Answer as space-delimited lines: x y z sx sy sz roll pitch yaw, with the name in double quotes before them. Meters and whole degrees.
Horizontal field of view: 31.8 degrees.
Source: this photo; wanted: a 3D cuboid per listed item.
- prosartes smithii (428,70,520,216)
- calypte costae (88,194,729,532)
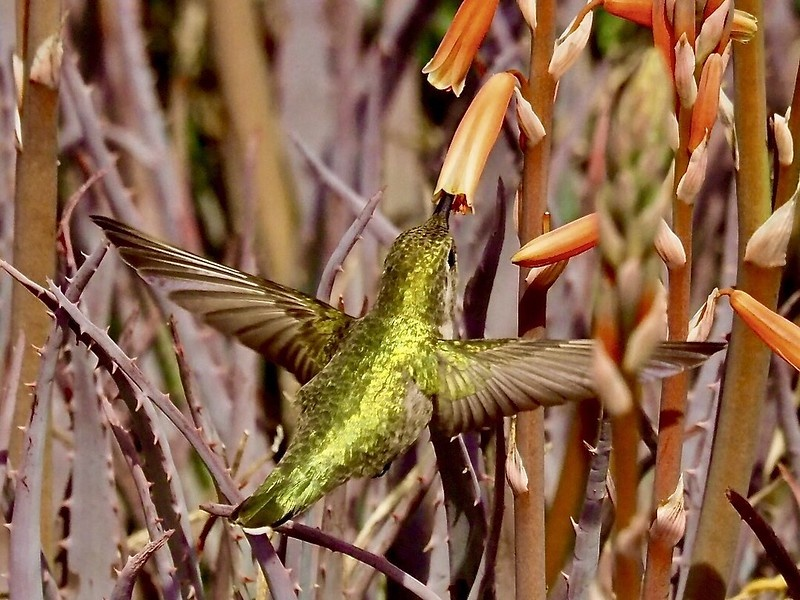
"prosartes smithii" 0.088 -0.177 1.544 0.088 0.144 0.064 1 21 -9
"calypte costae" -0.058 0.055 1.745 0.604 0.397 0.367 10 23 8
